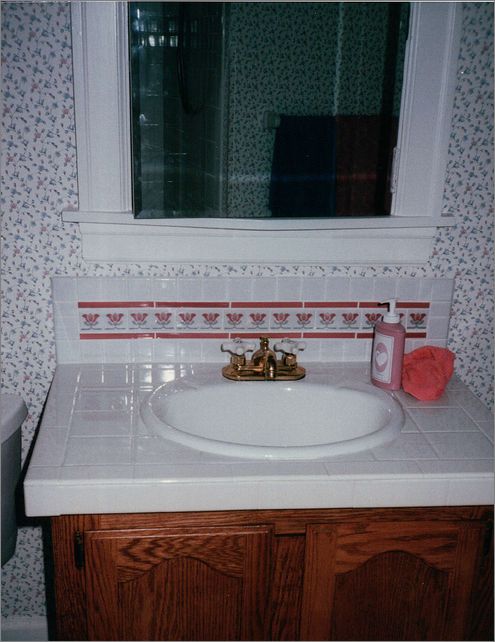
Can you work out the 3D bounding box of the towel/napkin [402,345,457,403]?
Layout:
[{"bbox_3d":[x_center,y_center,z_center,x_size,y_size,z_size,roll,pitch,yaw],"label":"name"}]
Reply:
[{"bbox_3d":[0.400,0.111,1.123,0.113,0.037,0.182,3,31,28],"label":"towel/napkin"}]

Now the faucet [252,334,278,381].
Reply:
[{"bbox_3d":[0.040,0.082,1.126,0.058,0.088,0.059,2,18,1],"label":"faucet"}]

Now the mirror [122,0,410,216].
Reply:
[{"bbox_3d":[0.023,-0.471,1.049,0.447,0.482,0.017,-3,29,-5],"label":"mirror"}]
